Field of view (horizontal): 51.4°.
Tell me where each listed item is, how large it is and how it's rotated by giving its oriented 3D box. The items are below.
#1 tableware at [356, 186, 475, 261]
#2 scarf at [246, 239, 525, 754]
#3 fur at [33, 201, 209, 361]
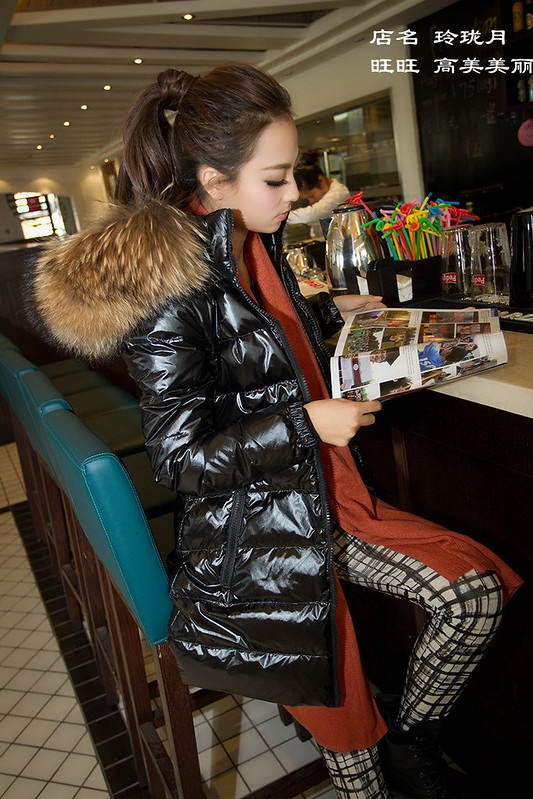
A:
[{"bbox_3d":[0.392,-0.463,1.462,0.229,0.143,0.235,-24,32,-33],"label":"tableware"},{"bbox_3d":[0.153,0.196,1.550,0.775,1.377,0.602,-2,1,13],"label":"scarf"},{"bbox_3d":[-0.196,-0.139,0.876,0.270,0.090,0.214,-30,49,10],"label":"fur"}]
